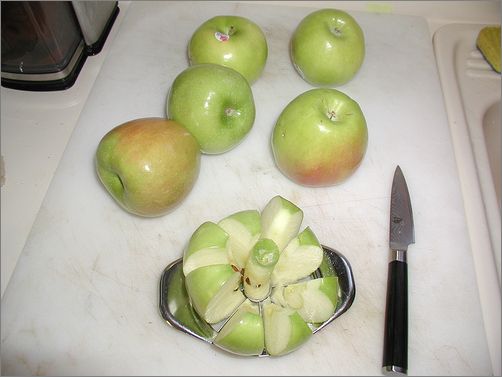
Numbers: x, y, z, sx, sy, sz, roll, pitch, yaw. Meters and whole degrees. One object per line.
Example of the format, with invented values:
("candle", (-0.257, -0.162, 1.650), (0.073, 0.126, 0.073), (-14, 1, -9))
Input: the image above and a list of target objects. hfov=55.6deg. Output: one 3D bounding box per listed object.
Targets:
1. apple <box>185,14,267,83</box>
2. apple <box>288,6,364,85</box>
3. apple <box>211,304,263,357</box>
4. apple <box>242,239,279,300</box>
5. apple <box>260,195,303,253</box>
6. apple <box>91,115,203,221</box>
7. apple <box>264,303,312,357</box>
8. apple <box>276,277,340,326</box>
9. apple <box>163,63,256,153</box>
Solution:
("apple", (-0.062, -0.322, 1.085), (0.140, 0.145, 0.145), (38, 54, 18))
("apple", (0.177, -0.322, 1.085), (0.145, 0.125, 0.182), (1, 101, 4))
("apple", (-0.017, 0.265, 0.894), (0.096, 0.071, 0.089), (14, 71, 0))
("apple", (0.016, 0.153, 0.873), (0.059, 0.129, 0.094), (9, 70, 0))
("apple", (0.060, 0.067, 0.940), (0.074, 0.040, 0.115), (7, 88, -1))
("apple", (-0.208, -0.024, 0.976), (0.155, 0.187, 0.220), (-2, 88, 2))
("apple", (0.066, 0.270, 0.905), (0.090, 0.075, 0.091), (1, 71, -4))
("apple", (0.105, 0.213, 0.873), (0.106, 0.031, 0.081), (-15, 85, 19))
("apple", (-0.093, -0.191, 1.065), (0.158, 0.156, 0.195), (-9, 107, -38))
